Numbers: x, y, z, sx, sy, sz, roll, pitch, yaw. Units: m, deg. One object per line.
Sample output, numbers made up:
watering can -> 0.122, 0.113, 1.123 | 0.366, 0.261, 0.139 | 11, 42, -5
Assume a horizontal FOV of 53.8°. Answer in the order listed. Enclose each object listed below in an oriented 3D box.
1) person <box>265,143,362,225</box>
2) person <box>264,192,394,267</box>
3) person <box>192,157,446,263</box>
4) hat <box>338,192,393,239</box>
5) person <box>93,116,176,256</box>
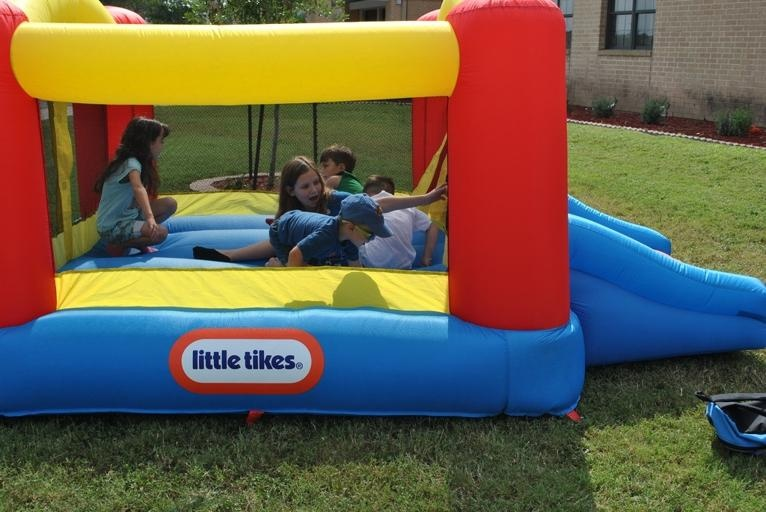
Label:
person -> -0.466, -0.588, 5.659 | 0.760, 0.342, 0.474 | 3, -2, -45
person -> -0.351, -0.229, 5.006 | 0.705, 0.489, 0.441 | 17, 31, 14
person -> -0.323, -0.434, 5.533 | 1.761, 0.928, 0.933 | -2, 52, 3
hat -> -0.102, -0.260, 4.835 | 0.310, 0.166, 0.219 | 26, 29, -8
person -> -1.766, -0.521, 5.612 | 0.705, 0.986, 0.578 | 12, 19, 40
